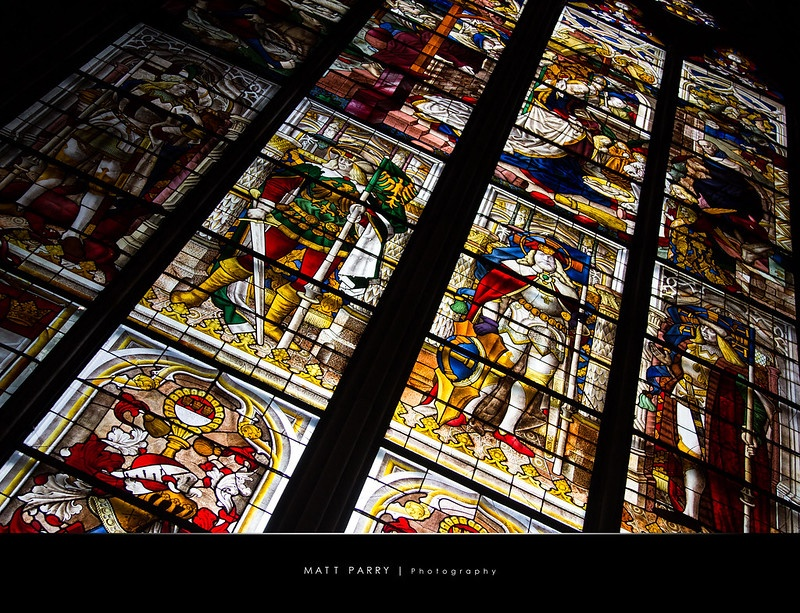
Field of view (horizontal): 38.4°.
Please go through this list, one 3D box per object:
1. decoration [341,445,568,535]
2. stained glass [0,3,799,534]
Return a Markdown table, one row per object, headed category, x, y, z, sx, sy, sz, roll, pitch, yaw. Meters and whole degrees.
| category | x | y | z | sx | sy | sz | roll | pitch | yaw |
| --- | --- | --- | --- | --- | --- | --- | --- | --- | --- |
| decoration | 0.229 | 1.010 | 5.662 | 0.863 | 0.167 | 0.461 | 17 | 37 | -3 |
| stained glass | -0.101 | -0.158 | 6.389 | 2.998 | 0.162 | 3.614 | 27 | 44 | -6 |
